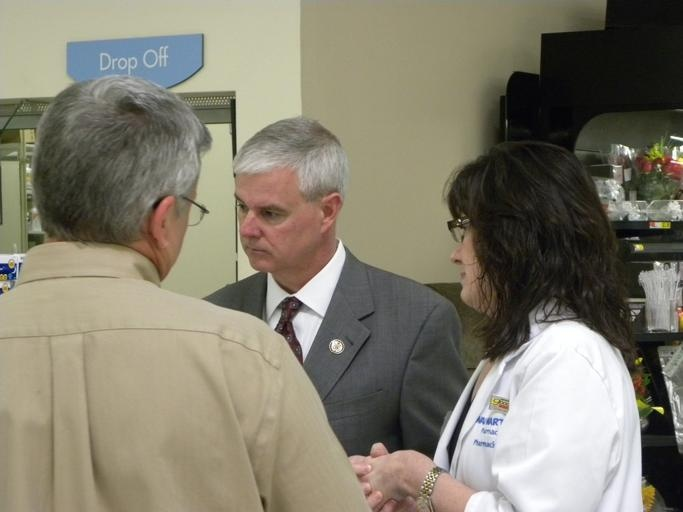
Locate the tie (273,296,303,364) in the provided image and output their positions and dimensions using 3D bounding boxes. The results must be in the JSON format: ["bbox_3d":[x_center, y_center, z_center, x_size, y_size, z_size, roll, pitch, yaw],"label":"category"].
[{"bbox_3d":[-0.175,0.217,2.285,0.080,0.058,0.222,27,30,-22],"label":"tie"}]

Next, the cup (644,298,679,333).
[{"bbox_3d":[1.574,0.282,3.534,0.175,0.201,0.137,0,0,2],"label":"cup"}]
